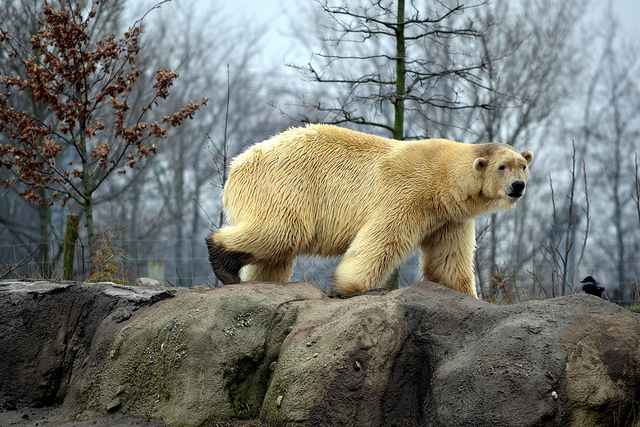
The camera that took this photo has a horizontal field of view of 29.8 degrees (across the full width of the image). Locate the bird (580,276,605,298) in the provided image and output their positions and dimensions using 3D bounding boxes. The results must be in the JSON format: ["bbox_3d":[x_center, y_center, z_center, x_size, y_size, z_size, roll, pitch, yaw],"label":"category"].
[{"bbox_3d":[5.509,1.511,23.950,0.599,0.494,0.335,7,-11,-37],"label":"bird"}]
